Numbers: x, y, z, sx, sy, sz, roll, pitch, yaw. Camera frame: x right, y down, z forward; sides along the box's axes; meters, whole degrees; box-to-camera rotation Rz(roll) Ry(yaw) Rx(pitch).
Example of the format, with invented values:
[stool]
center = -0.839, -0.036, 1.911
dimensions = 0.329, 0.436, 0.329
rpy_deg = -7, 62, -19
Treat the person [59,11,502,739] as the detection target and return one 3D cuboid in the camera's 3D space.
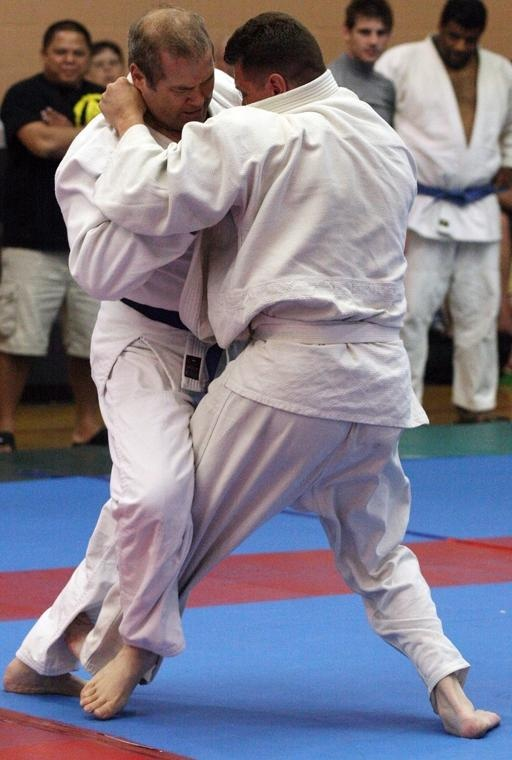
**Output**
[person]
center = 0.057, -0.039, 1.347
dimensions = 0.600, 1.140, 0.360
rpy_deg = -1, 4, -9
